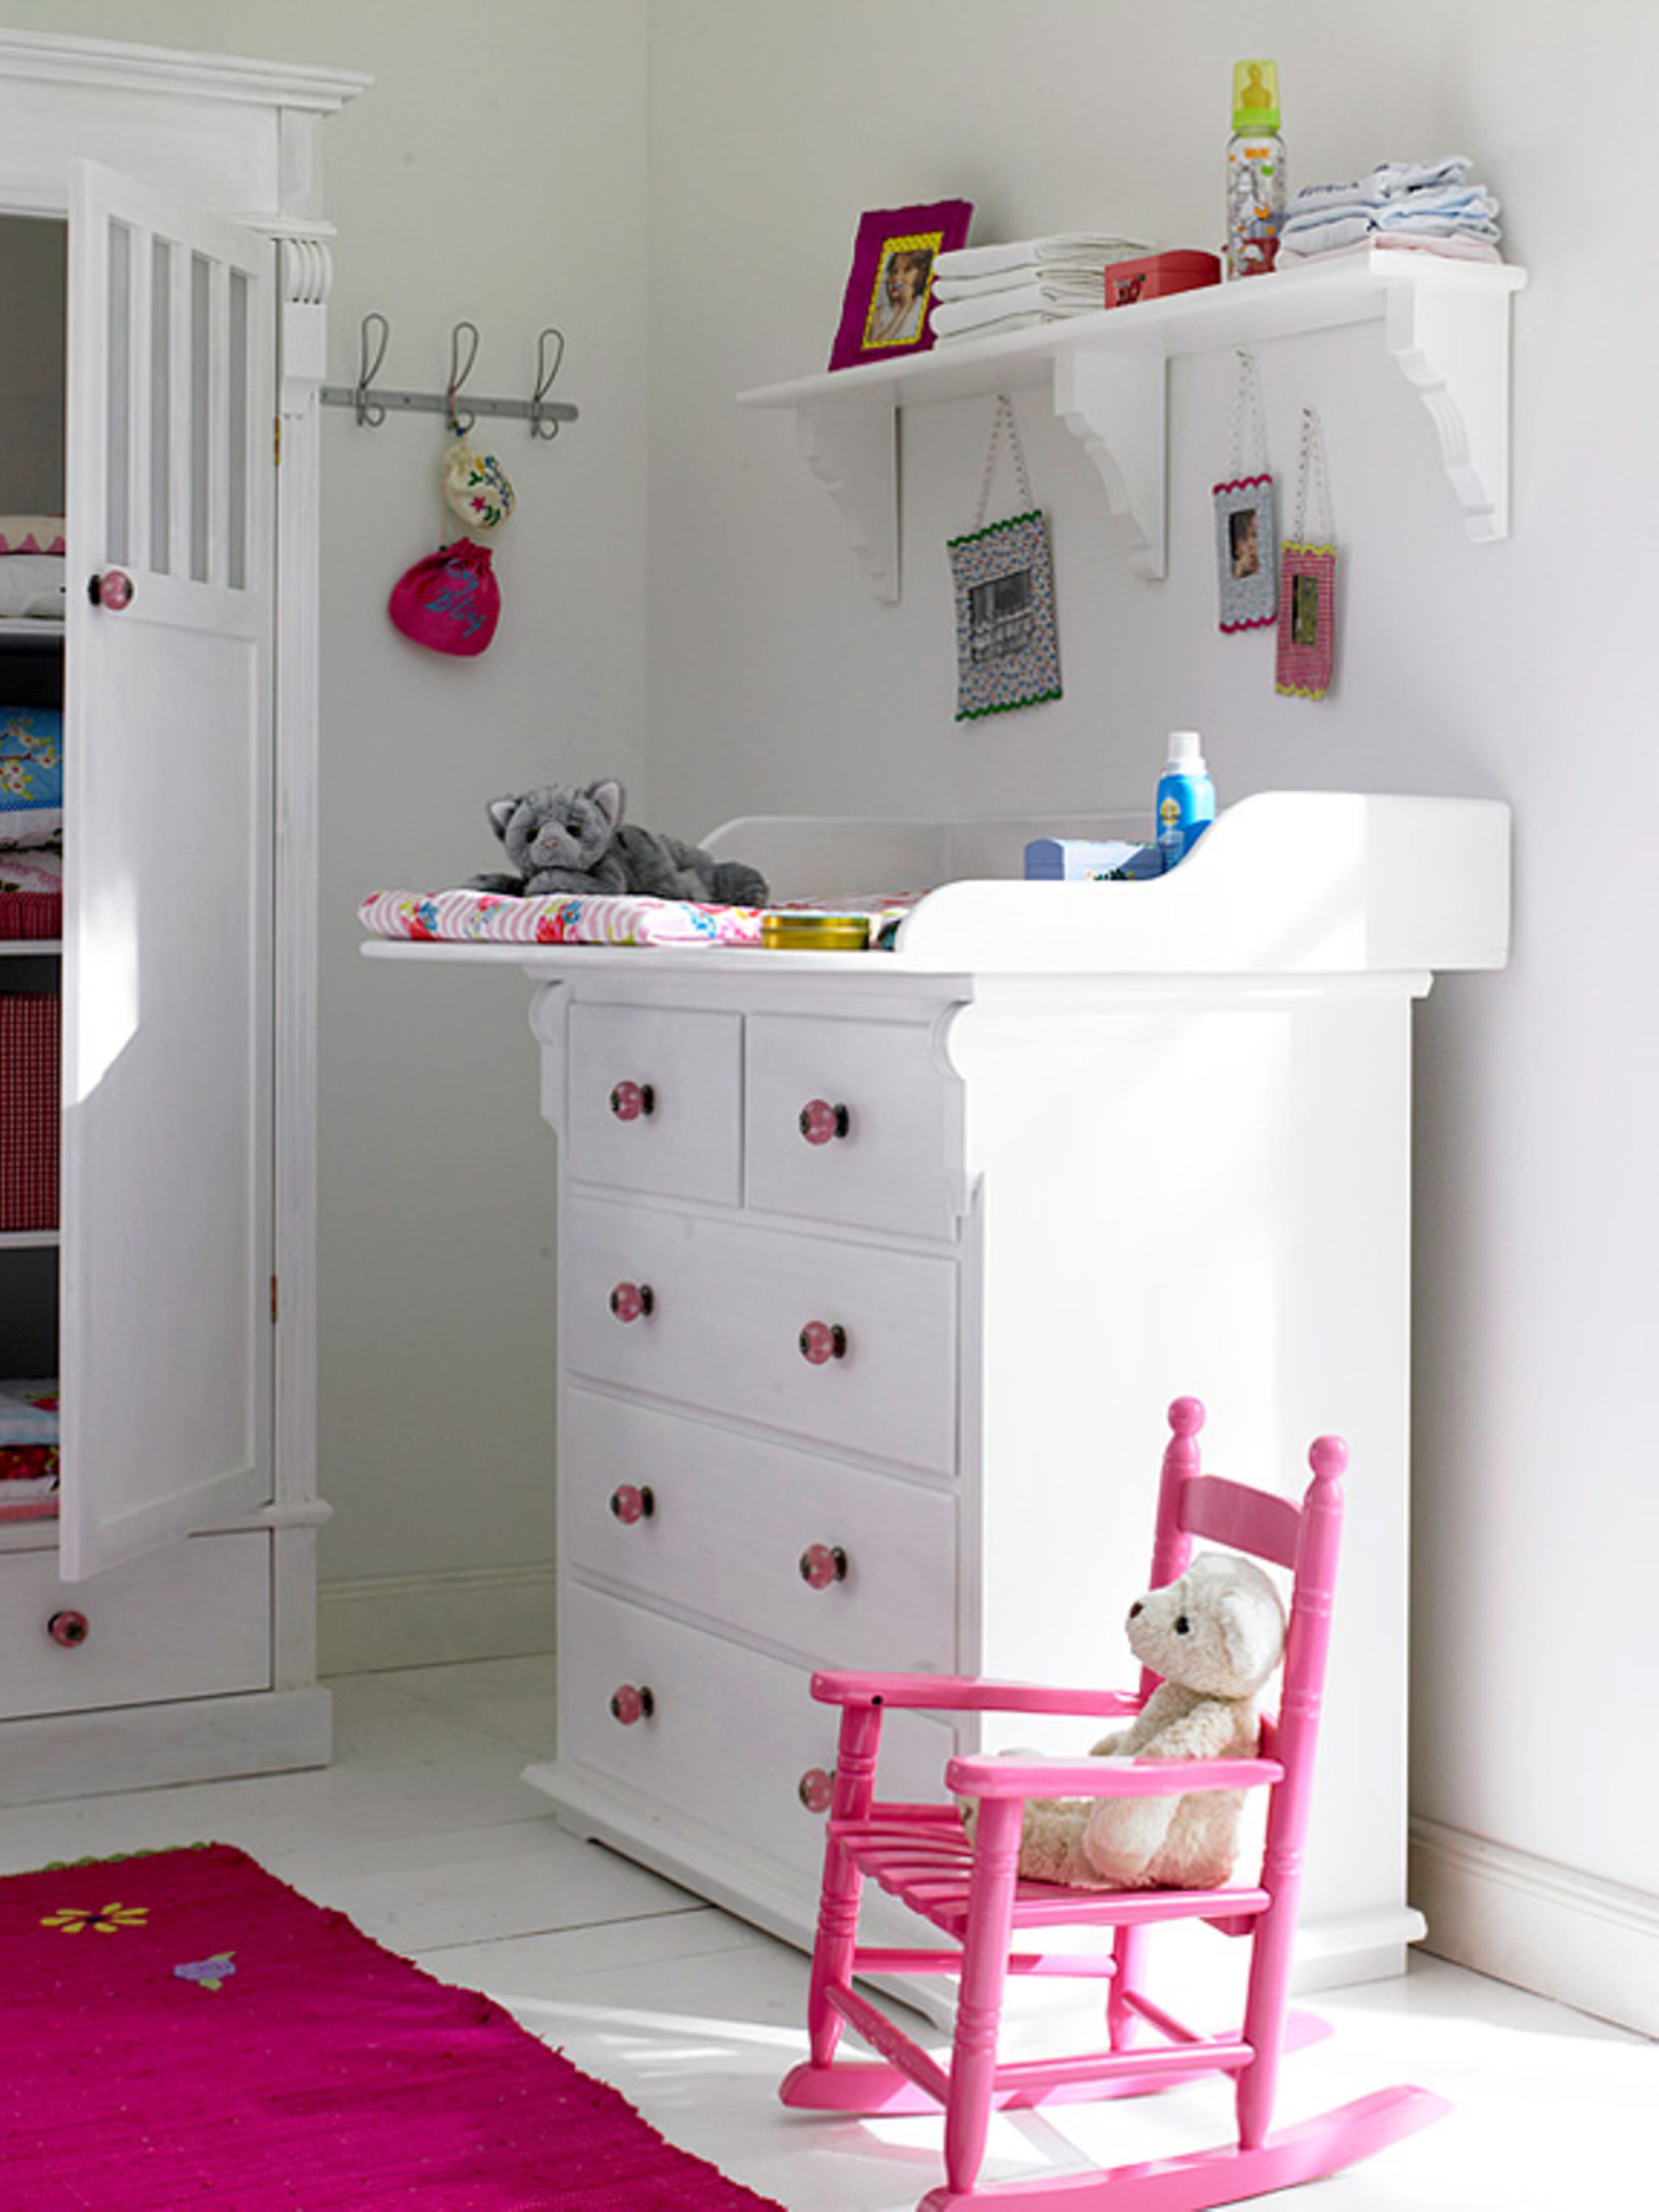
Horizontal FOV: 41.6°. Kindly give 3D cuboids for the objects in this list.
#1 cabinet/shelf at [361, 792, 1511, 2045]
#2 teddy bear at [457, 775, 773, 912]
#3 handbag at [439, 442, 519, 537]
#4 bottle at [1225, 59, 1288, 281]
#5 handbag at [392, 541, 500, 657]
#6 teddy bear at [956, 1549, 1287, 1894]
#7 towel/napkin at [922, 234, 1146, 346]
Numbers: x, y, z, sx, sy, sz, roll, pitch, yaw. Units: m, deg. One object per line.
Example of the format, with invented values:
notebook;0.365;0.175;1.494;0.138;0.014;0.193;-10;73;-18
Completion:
cabinet/shelf;0.022;0.163;2.086;0.713;0.714;0.510;8;12;43
teddy bear;-0.211;-0.250;2.242;0.178;0.072;0.212;2;-2;33
handbag;-0.535;-0.934;3.301;0.098;0.104;0.115;-20;48;-10
bottle;0.416;-0.895;2.094;0.056;0.249;0.140;1;-4;10
handbag;-0.588;-0.772;3.327;0.160;0.170;0.049;22;2;-30
teddy bear;0.231;0.444;1.586;0.170;0.231;0.194;4;-4;-32
towel/napkin;0.204;-0.863;2.303;0.167;0.059;0.169;-2;2;-40
